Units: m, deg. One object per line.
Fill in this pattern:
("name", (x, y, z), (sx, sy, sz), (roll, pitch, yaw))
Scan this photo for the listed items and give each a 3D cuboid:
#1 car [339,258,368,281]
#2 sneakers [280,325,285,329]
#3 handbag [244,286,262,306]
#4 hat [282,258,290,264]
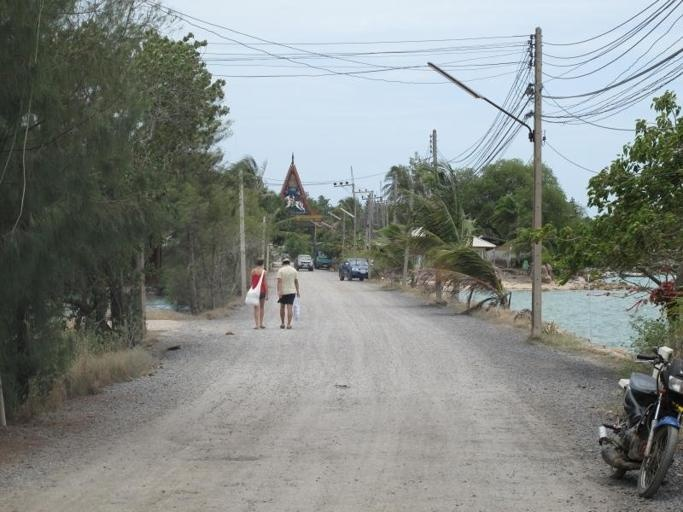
("car", (1.161, 1.047, 58.999), (1.190, 1.124, 2.321), (0, -3, -14))
("sneakers", (-1.709, 2.122, 22.989), (0.096, 0.101, 0.222), (0, -4, -3))
("handbag", (-2.518, 1.207, 22.424), (0.363, 0.613, 0.925), (1, 4, 5))
("hat", (-1.521, 0.171, 21.892), (0.166, 0.231, 0.219), (3, 3, -7))
